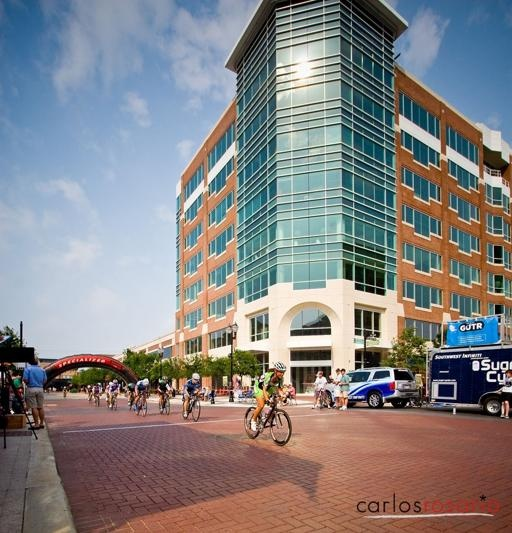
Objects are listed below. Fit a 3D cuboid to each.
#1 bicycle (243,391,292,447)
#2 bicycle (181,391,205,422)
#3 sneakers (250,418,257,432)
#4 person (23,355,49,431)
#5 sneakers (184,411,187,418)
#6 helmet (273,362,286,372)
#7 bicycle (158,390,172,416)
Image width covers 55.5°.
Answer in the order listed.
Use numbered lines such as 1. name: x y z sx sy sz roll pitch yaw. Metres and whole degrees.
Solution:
1. bicycle: 0.490 3.634 11.217 0.575 1.394 2.260 8 -21 -28
2. bicycle: -2.345 5.250 17.803 0.789 1.111 1.687 9 -25 -26
3. sneakers: -0.039 3.542 10.887 0.101 0.288 0.096 -12 -18 14
4. person: -5.893 3.388 12.932 0.634 1.840 1.406 5 -13 -23
5. sneakers: -2.484 5.271 17.263 0.133 0.226 0.047 8 2 34
6. helmet: 0.497 2.069 9.987 0.209 0.297 0.271 9 -14 -34
7. bicycle: -3.932 5.934 21.100 0.417 0.908 2.259 2 -14 -9
